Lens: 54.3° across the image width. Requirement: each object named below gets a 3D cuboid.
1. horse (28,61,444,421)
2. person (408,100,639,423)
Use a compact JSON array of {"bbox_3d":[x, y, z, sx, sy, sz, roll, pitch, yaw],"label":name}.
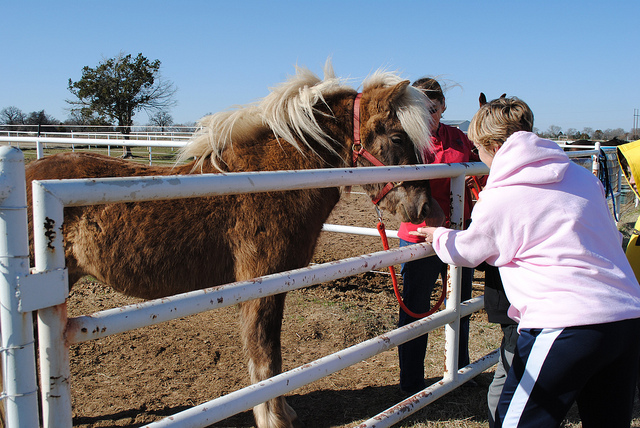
[{"bbox_3d":[-0.413,0.140,3.991,2.394,2.181,0.664,-2,5,-14],"label":"horse"},{"bbox_3d":[1.058,0.320,2.943,0.861,1.405,0.281,1,5,12],"label":"person"}]
